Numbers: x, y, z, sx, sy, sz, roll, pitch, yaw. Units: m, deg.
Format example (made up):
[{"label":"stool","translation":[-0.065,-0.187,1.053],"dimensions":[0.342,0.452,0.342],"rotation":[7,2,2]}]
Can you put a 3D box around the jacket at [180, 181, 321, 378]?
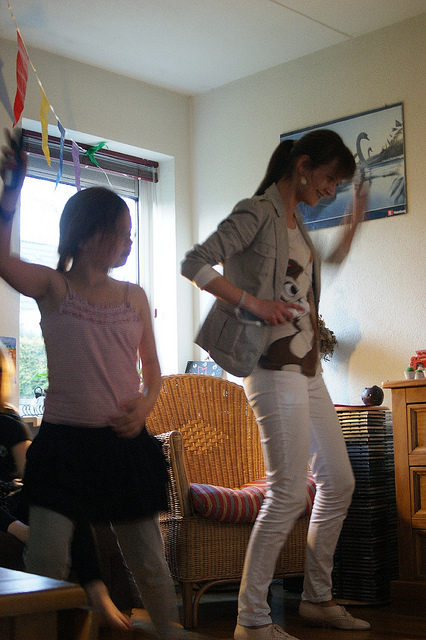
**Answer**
[{"label":"jacket","translation":[0.132,-0.138,1.525],"dimensions":[0.454,0.607,0.211],"rotation":[1,-3,-7]}]

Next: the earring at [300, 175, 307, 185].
[{"label":"earring","translation":[0.277,-0.428,1.555],"dimensions":[0.020,0.030,0.008],"rotation":[-3,1,7]}]

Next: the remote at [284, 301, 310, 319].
[{"label":"remote","translation":[0.250,-0.034,1.509],"dimensions":[0.051,0.059,0.195],"rotation":[0,-4,17]}]

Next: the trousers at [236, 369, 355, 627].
[{"label":"trousers","translation":[0.251,0.542,1.555],"dimensions":[0.201,0.786,0.448],"rotation":[-2,-4,40]}]

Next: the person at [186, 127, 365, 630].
[{"label":"person","translation":[0.301,0.371,1.958],"dimensions":[0.459,1.872,1.296],"rotation":[0,-3,15]}]

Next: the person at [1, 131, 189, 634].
[{"label":"person","translation":[-0.221,0.149,0.927],"dimensions":[0.402,0.836,0.224],"rotation":[4,-4,-41]}]

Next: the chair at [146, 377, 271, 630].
[{"label":"chair","translation":[0.025,0.674,2.110],"dimensions":[0.665,0.832,0.622],"rotation":[13,-17,-42]}]

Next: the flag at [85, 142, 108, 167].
[{"label":"flag","translation":[-0.841,-1.207,3.667],"dimensions":[0.135,0.141,0.051],"rotation":[9,35,-14]}]
